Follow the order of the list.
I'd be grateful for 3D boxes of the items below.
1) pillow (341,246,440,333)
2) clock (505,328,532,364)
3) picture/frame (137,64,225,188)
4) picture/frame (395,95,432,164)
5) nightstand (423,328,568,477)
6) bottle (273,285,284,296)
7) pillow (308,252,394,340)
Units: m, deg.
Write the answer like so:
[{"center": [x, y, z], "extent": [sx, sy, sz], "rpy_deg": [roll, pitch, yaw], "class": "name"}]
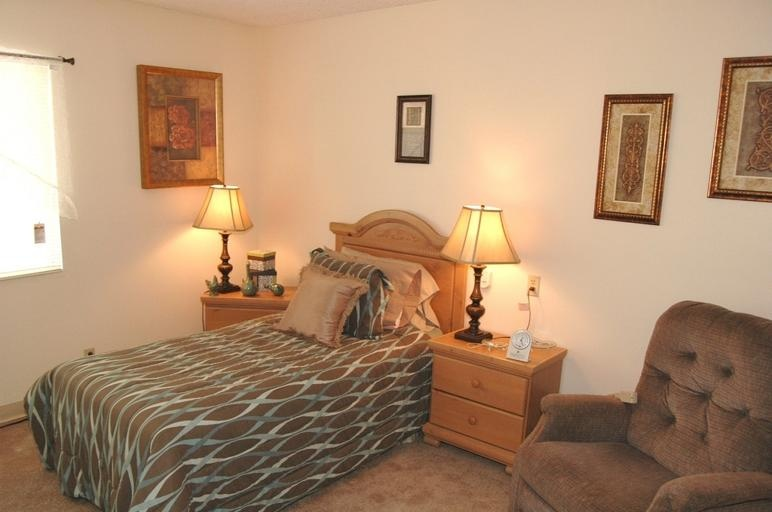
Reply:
[{"center": [0.044, 0.204, 4.695], "extent": [0.665, 0.580, 0.199], "rpy_deg": [9, 14, 30], "class": "pillow"}, {"center": [0.942, 0.643, 4.062], "extent": [0.190, 0.270, 0.091], "rpy_deg": [6, -3, 40], "class": "clock"}, {"center": [-1.824, -1.141, 5.176], "extent": [0.742, 1.044, 0.071], "rpy_deg": [-6, 13, -42], "class": "picture/frame"}, {"center": [0.239, -1.056, 4.805], "extent": [0.326, 0.555, 0.049], "rpy_deg": [8, 12, 30], "class": "picture/frame"}, {"center": [0.737, 0.878, 4.514], "extent": [1.145, 1.138, 0.851], "rpy_deg": [9, 9, 43], "class": "nightstand"}, {"center": [-0.961, 0.305, 5.147], "extent": [0.099, 0.076, 0.077], "rpy_deg": [0, 3, 34], "class": "bottle"}, {"center": [-0.263, 0.334, 4.390], "extent": [0.559, 0.374, 0.199], "rpy_deg": [9, 14, 42], "class": "pillow"}]
